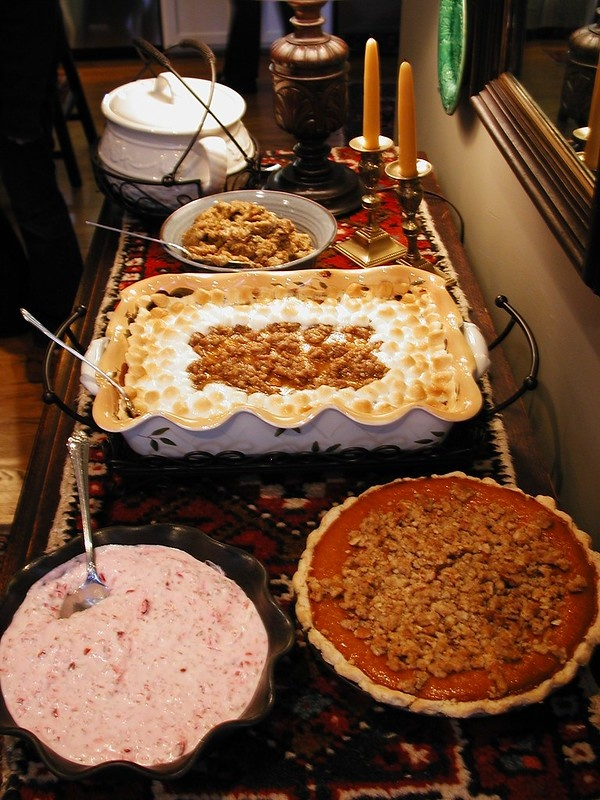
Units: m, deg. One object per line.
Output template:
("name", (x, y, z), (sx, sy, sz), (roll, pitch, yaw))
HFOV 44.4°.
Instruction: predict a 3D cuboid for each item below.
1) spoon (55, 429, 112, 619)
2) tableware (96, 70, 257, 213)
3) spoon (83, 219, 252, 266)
("spoon", (-0.201, 0.109, 0.679), (0.050, 0.026, 0.176), (-7, 68, -11))
("tableware", (-0.212, -0.396, 1.233), (0.258, 0.175, 0.218), (34, 52, 28))
("spoon", (-0.194, -0.234, 1.104), (0.208, 0.029, 0.040), (27, 47, 12))
